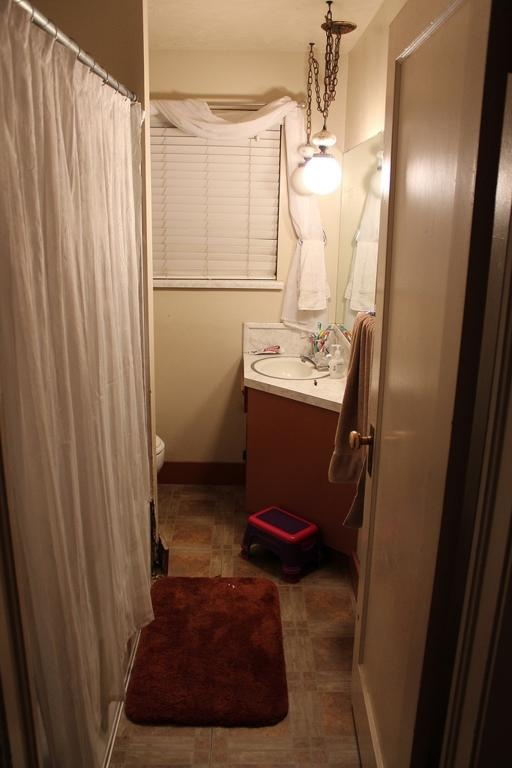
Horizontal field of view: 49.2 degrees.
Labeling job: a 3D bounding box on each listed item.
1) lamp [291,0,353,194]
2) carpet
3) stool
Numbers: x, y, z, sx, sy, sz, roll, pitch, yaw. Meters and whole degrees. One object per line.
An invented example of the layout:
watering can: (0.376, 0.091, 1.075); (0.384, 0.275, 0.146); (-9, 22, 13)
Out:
lamp: (0.338, -1.344, 2.767); (0.273, 0.740, 0.755); (1, 10, 0)
carpet: (-0.165, 0.945, 2.038); (0.534, 0.031, 0.748); (2, 12, -1)
stool: (0.119, 0.726, 2.592); (0.357, 0.231, 0.253); (12, 15, 43)
